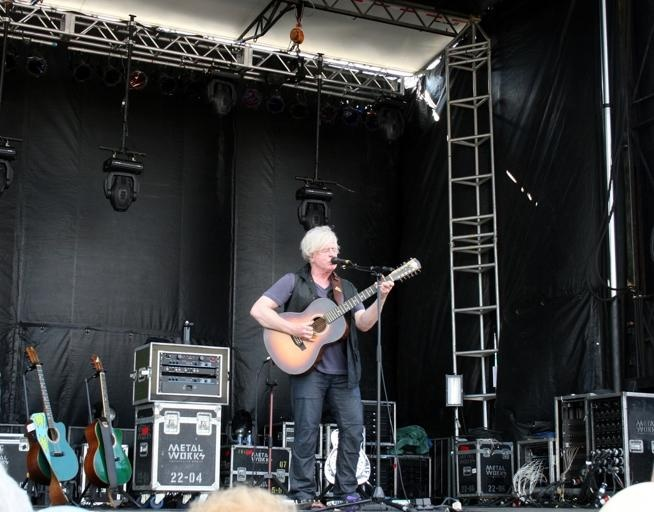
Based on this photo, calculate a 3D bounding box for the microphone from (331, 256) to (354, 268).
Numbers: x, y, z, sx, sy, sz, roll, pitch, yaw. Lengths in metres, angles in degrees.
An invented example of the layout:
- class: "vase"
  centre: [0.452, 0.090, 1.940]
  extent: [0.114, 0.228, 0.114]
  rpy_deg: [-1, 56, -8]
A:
- class: "microphone"
  centre: [0.089, 0.045, 8.372]
  extent: [0.093, 0.081, 0.250]
  rpy_deg: [7, -4, -39]

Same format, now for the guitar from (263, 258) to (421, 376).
- class: "guitar"
  centre: [0.123, 0.523, 8.585]
  extent: [1.498, 0.617, 0.181]
  rpy_deg: [-32, -4, -10]

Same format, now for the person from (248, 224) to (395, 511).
- class: "person"
  centre: [-0.045, 0.844, 8.268]
  extent: [1.028, 2.224, 0.589]
  rpy_deg: [-2, -7, 3]

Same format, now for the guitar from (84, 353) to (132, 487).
- class: "guitar"
  centre: [-2.244, 1.684, 10.362]
  extent: [0.458, 1.367, 1.014]
  rpy_deg: [0, -8, -11]

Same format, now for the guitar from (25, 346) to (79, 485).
- class: "guitar"
  centre: [-2.854, 1.628, 10.469]
  extent: [0.534, 1.427, 1.558]
  rpy_deg: [0, -8, -16]
